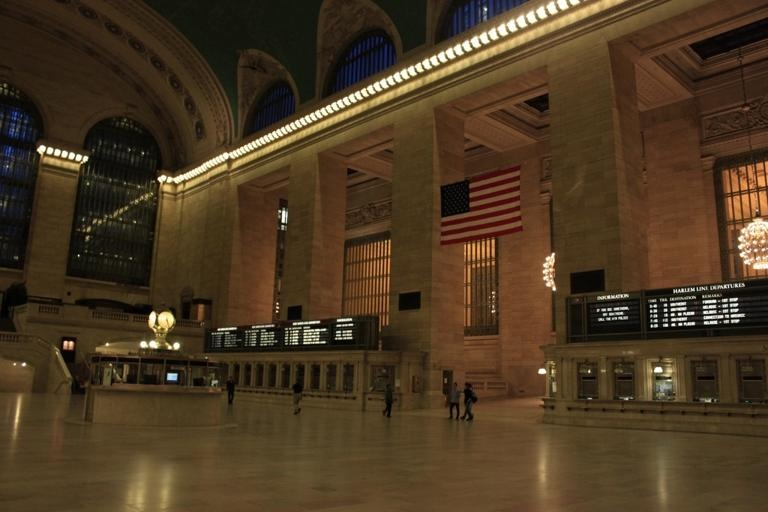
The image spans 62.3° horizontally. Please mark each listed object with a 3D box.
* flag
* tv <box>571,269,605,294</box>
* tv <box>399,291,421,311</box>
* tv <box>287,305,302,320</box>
[{"bbox_3d":[3.753,-2.035,25.204,4.018,2.725,0.078,-7,-8,44],"label":"flag"},{"bbox_3d":[6.912,0.865,21.578,0.111,0.555,0.799,17,-21,-37],"label":"tv"},{"bbox_3d":[1.075,1.847,26.297,0.030,0.542,0.808,17,-21,-42],"label":"tv"},{"bbox_3d":[-4.304,2.711,30.721,1.080,0.713,0.099,-12,-20,42],"label":"tv"}]
